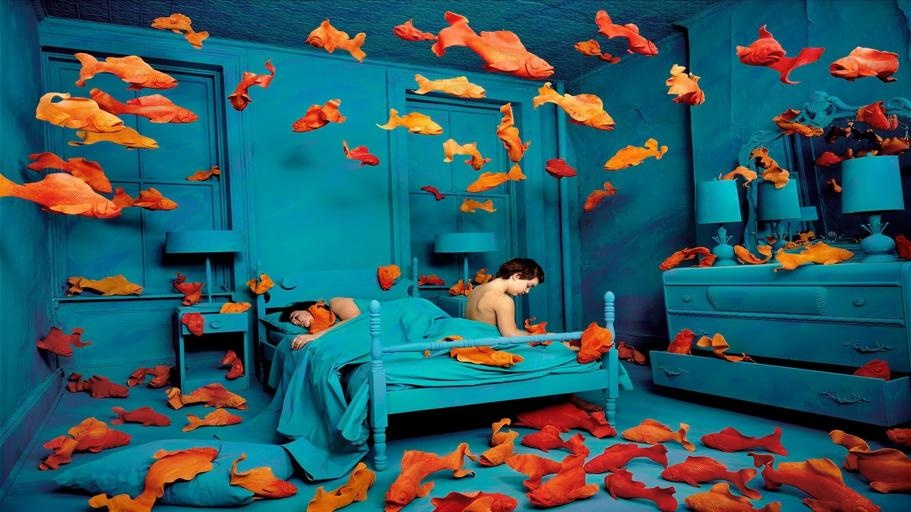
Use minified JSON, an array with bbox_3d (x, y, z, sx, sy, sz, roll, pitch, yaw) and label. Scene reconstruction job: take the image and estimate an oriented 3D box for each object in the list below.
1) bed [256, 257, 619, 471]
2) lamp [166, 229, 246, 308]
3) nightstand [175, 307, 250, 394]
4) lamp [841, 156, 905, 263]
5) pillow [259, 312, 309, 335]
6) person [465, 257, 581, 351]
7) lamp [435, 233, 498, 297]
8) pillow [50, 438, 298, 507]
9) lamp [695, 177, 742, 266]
[{"bbox_3d":[-0.347,1.099,6.380,3.169,1.176,3.512,-2,-4,-16],"label":"bed"},{"bbox_3d":[-2.811,0.132,6.841,0.995,0.892,0.938,0,1,11],"label":"lamp"},{"bbox_3d":[-2.780,1.037,6.725,0.731,0.960,0.764,-1,-2,-28],"label":"nightstand"},{"bbox_3d":[3.778,-0.422,5.333,0.467,0.925,0.404,-1,-2,-45],"label":"lamp"},{"bbox_3d":[-1.899,0.722,6.438,0.293,0.087,0.424,8,-1,-40],"label":"pillow"},{"bbox_3d":[0.439,0.372,5.765,0.635,0.711,0.851,-4,12,-33],"label":"person"},{"bbox_3d":[0.260,0.077,7.466,0.840,0.744,0.810,1,1,40],"label":"lamp"},{"bbox_3d":[-2.110,1.659,4.479,1.686,0.419,0.410,-2,-2,-2],"label":"pillow"},{"bbox_3d":[2.823,-0.355,6.248,0.400,0.739,0.449,-4,-2,33],"label":"lamp"}]
